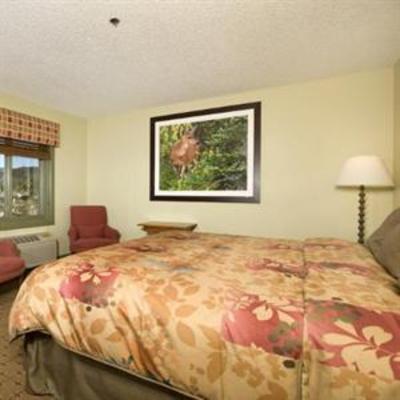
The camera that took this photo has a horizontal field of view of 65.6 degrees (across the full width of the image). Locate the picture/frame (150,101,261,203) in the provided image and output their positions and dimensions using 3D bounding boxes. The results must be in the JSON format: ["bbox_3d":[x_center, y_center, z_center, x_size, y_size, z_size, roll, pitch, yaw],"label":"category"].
[{"bbox_3d":[0.122,-0.658,4.174,1.526,0.998,0.025,1,0,30],"label":"picture/frame"}]
